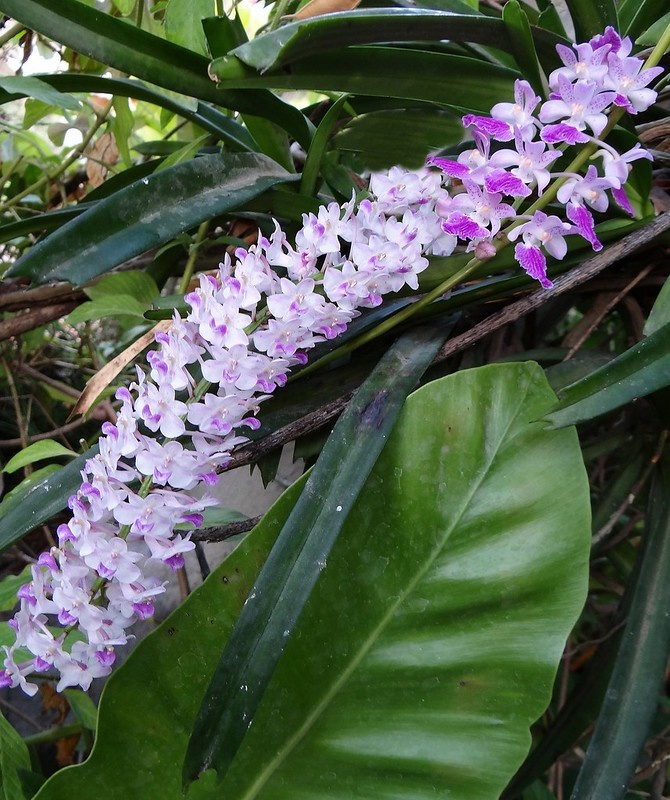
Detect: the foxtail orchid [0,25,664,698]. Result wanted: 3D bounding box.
[{"bbox_3d":[-0.024,-0.026,0.718,0.551,0.564,0.241,3,-11,15],"label":"foxtail orchid"}]
